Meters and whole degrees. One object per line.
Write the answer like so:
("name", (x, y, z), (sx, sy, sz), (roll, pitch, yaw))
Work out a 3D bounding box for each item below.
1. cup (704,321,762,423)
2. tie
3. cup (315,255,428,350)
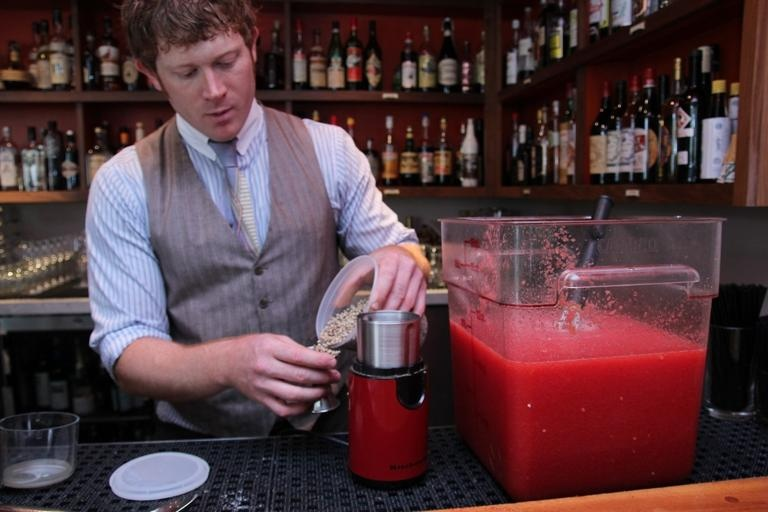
("cup", (0.893, 0.294, 1.610), (0.114, 0.218, 0.118), (-2, 9, 0))
("tie", (-0.411, -0.175, 1.769), (0.084, 0.438, 0.059), (-17, -5, -1))
("cup", (-0.049, 0.111, 1.580), (0.201, 0.226, 0.362), (3, 10, 32))
